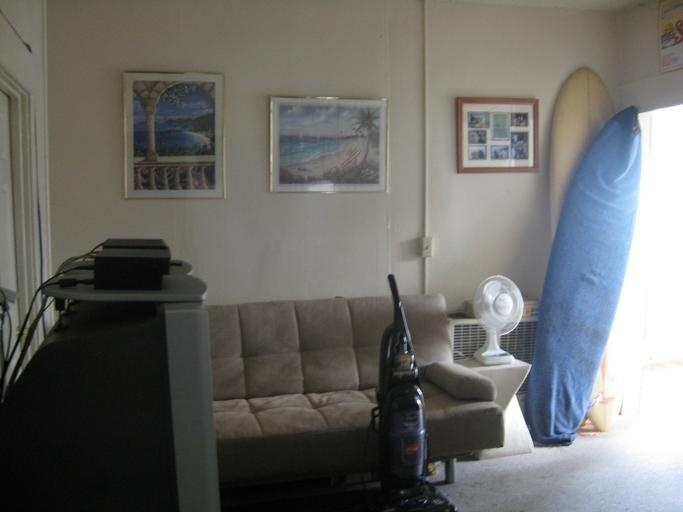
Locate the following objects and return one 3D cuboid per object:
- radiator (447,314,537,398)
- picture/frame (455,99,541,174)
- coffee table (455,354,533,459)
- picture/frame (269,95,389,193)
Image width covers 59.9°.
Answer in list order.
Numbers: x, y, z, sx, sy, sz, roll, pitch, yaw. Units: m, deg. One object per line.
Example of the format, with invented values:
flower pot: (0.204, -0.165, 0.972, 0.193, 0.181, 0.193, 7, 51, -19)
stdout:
radiator: (0.981, 0.654, 3.961, 0.595, 0.580, 0.211, 1, 2, -18)
picture/frame: (1.125, -0.894, 4.373, 0.542, 0.489, 0.042, 0, 2, -8)
coffee table: (1.079, 0.986, 4.122, 0.532, 0.794, 0.497, -1, 1, -17)
picture/frame: (-0.074, -0.772, 4.143, 0.850, 0.668, 0.019, -3, 22, -10)
